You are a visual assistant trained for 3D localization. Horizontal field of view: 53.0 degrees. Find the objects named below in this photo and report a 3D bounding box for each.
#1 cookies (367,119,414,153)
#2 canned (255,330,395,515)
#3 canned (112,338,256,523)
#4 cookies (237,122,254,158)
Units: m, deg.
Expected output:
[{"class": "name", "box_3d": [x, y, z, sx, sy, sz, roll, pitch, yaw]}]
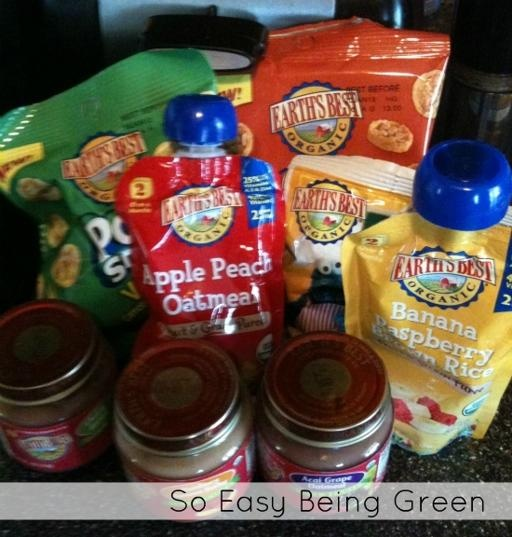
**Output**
[{"class": "cookies", "box_3d": [0.160, -0.153, 0.611, 0.050, 0.010, 0.060, -1, 54, -8]}, {"class": "canned", "box_3d": [0.060, 0.136, 0.446, 0.123, 0.106, 0.117, 17, 39, 33]}, {"class": "canned", "box_3d": [-0.052, 0.140, 0.465, 0.150, 0.113, 0.130, -2, 33, -2]}, {"class": "cookies", "box_3d": [-0.011, -0.154, 0.608, 0.019, 0.036, 0.022, -4, 41, -1]}]
